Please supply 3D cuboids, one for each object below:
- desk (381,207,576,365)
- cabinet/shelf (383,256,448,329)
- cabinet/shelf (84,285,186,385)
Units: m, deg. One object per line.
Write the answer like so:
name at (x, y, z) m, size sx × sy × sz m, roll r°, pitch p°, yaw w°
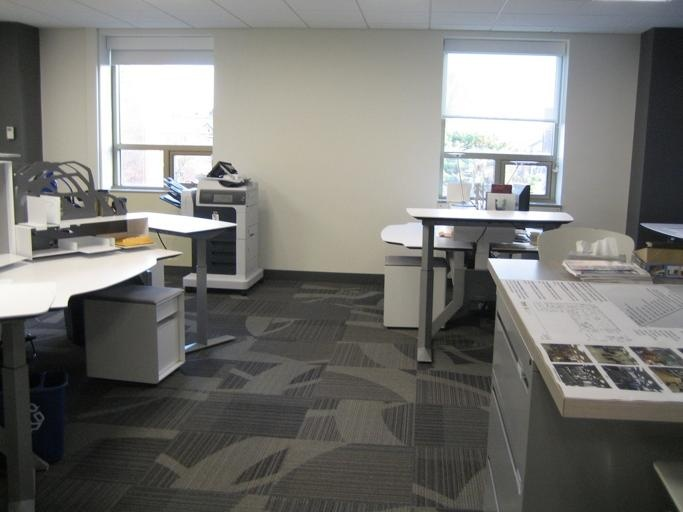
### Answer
desk at (1.112, 0.264, 3.882) m, size 1.151 × 1.108 × 0.549 m, roll 0°, pitch -4°, yaw 11°
cabinet/shelf at (0.718, 0.225, 4.817) m, size 0.523 × 0.754 × 0.757 m, roll 2°, pitch 4°, yaw 21°
cabinet/shelf at (-1.359, 0.484, 3.761) m, size 0.629 × 0.691 × 0.624 m, roll 2°, pitch 6°, yaw 5°
